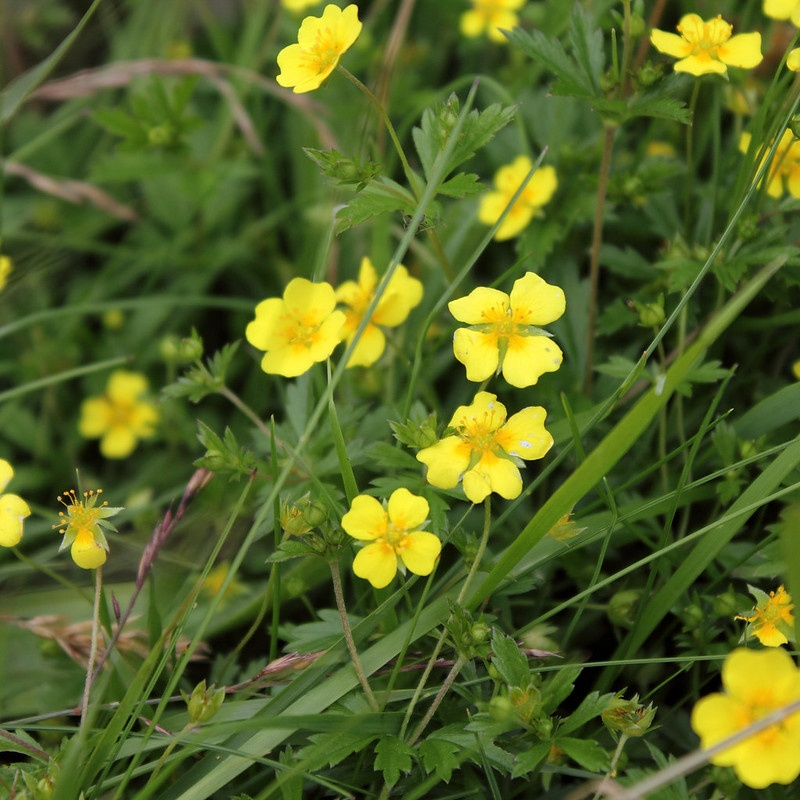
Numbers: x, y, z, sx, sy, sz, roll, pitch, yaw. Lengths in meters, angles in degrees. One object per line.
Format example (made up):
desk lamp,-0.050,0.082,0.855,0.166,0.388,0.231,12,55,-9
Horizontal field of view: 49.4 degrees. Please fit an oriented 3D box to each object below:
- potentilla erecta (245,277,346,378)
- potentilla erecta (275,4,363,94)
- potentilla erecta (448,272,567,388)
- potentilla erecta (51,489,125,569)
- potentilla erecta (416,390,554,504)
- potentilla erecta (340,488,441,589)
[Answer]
potentilla erecta,-0.177,-0.120,1.448,0.145,0.125,0.155,2,55,-13
potentilla erecta,-0.138,-0.606,1.471,0.125,0.148,0.167,3,55,-12
potentilla erecta,0.167,-0.116,1.422,0.180,0.113,0.188,11,53,-6
potentilla erecta,-0.494,0.208,1.368,0.102,0.108,0.116,-8,88,-63
potentilla erecta,0.134,0.070,1.344,0.158,0.100,0.158,31,54,9
potentilla erecta,-0.016,0.201,1.290,0.124,0.089,0.131,-9,58,-20
